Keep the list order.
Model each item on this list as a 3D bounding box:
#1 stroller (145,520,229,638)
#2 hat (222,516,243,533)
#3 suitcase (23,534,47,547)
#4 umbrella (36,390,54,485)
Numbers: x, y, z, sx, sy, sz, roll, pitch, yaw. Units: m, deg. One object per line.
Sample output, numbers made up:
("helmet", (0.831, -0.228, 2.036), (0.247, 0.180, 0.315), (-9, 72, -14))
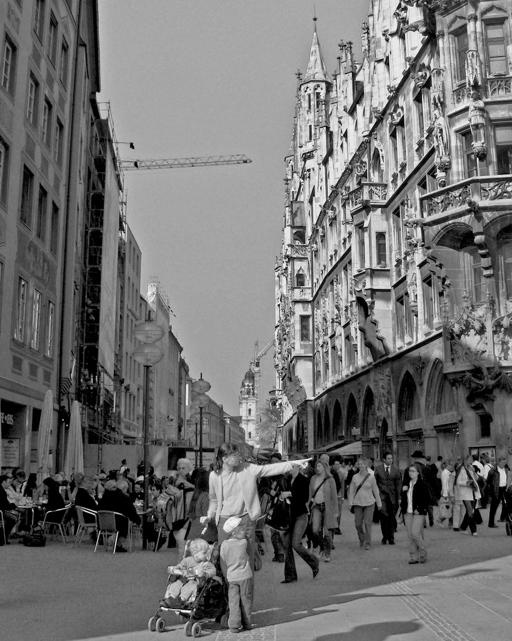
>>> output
("stroller", (-0.602, 2.536, 7.491), (0.574, 0.830, 1.049), (-3, -15, 12))
("hat", (-0.223, 1.930, 7.381), (0.178, 0.165, 0.227), (1, -15, -3))
("suitcase", (-4.351, 4.343, 15.461), (0.241, 0.220, 0.279), (3, -2, -24))
("umbrella", (-6.121, 3.411, 22.553), (0.403, 2.679, 0.527), (17, 21, 22))
